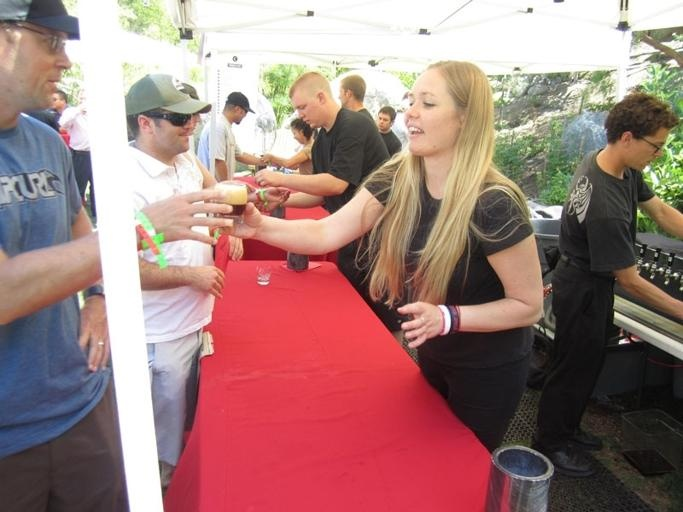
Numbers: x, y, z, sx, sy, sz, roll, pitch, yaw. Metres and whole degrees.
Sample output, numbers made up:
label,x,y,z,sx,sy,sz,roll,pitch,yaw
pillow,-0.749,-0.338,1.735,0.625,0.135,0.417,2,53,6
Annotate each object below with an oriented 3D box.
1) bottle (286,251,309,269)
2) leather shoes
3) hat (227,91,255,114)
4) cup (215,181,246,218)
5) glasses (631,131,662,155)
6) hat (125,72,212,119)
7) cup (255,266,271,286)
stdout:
label,x,y,z,sx,sy,sz,roll,pitch,yaw
bottle,-0.314,0.022,3.270,0.113,0.136,0.119,4,7,6
leather shoes,1.483,1.301,3.059,0.262,0.127,0.350,4,13,22
hat,-1.405,-2.109,6.467,0.309,0.199,0.222,-4,24,-37
cup,-0.450,-0.238,2.014,0.131,0.160,0.139,3,13,-1
glasses,1.797,-0.652,2.758,0.109,0.035,0.114,2,42,-32
hat,-0.868,-0.780,2.428,0.386,0.235,0.258,-6,16,-6
cup,-0.506,0.137,3.034,0.097,0.119,0.104,1,-1,0
